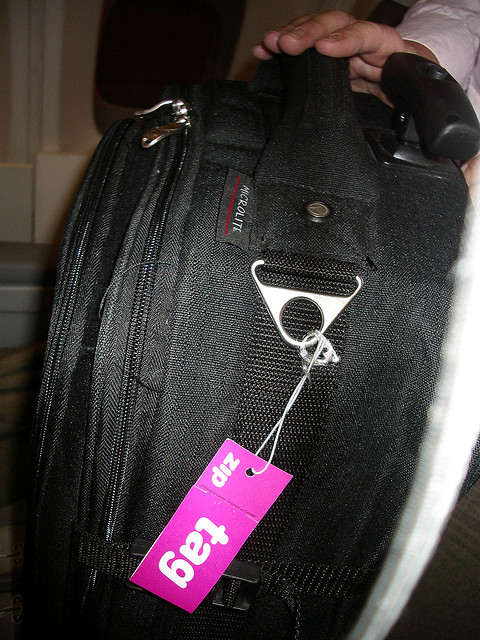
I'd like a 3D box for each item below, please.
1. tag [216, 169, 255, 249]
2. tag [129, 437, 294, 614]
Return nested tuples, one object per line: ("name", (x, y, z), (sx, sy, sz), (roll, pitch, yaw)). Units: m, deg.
("tag", (-0.002, -0.086, 0.399), (0.026, 0.070, 0.005), (26, -33, -29))
("tag", (-0.025, 0.161, 0.407), (0.061, 0.127, 0.003), (36, 4, 7))
